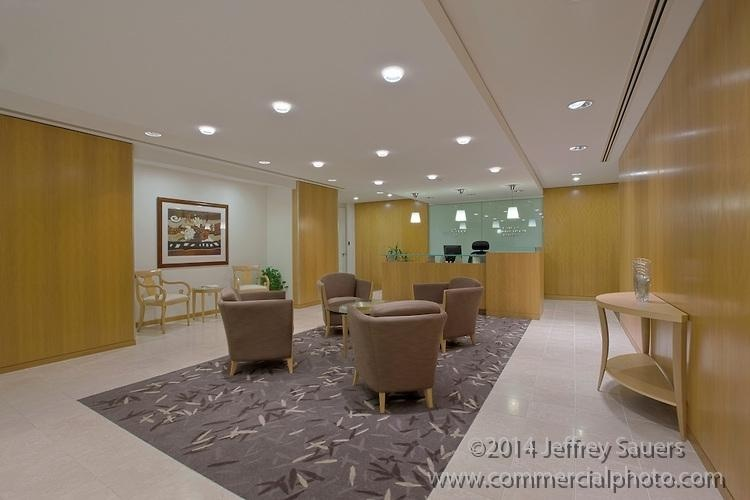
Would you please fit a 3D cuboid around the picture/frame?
[{"bbox_3d":[-3.616,-0.341,8.357,0.050,1.406,1.430,2,3,36],"label":"picture/frame"}]

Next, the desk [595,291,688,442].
[{"bbox_3d":[2.981,1.113,4.887,1.263,1.065,1.144,3,-4,-44],"label":"desk"}]

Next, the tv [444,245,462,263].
[{"bbox_3d":[1.664,0.089,9.281,0.337,0.334,0.121,-2,-16,10],"label":"tv"}]

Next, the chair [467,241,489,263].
[{"bbox_3d":[2.177,0.032,9.062,0.424,0.612,0.578,-1,-8,23],"label":"chair"}]

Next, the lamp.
[{"bbox_3d":[2.256,-1.154,11.102,2.624,0.922,2.548,1,6,14],"label":"lamp"}]
